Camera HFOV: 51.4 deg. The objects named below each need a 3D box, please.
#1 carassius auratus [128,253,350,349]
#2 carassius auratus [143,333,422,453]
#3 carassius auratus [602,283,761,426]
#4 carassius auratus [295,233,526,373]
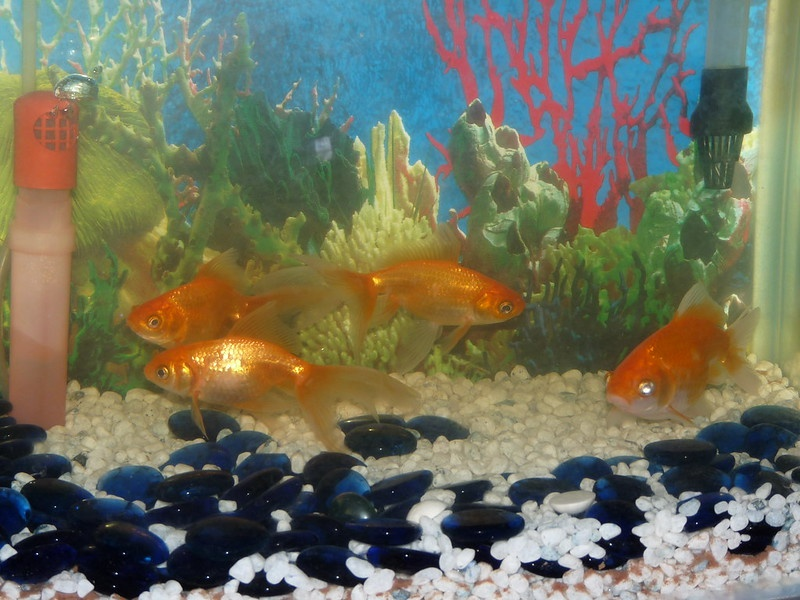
[{"bbox_3d":[-0.873,0.040,4.125,0.881,0.476,0.266,-6,16,-35],"label":"carassius auratus"},{"bbox_3d":[-0.544,0.310,3.827,1.352,0.549,0.512,8,19,8],"label":"carassius auratus"},{"bbox_3d":[1.306,0.234,3.771,0.854,0.596,0.230,-10,13,-33],"label":"carassius auratus"},{"bbox_3d":[0.064,-0.019,3.985,1.026,0.631,0.301,8,18,3],"label":"carassius auratus"}]
